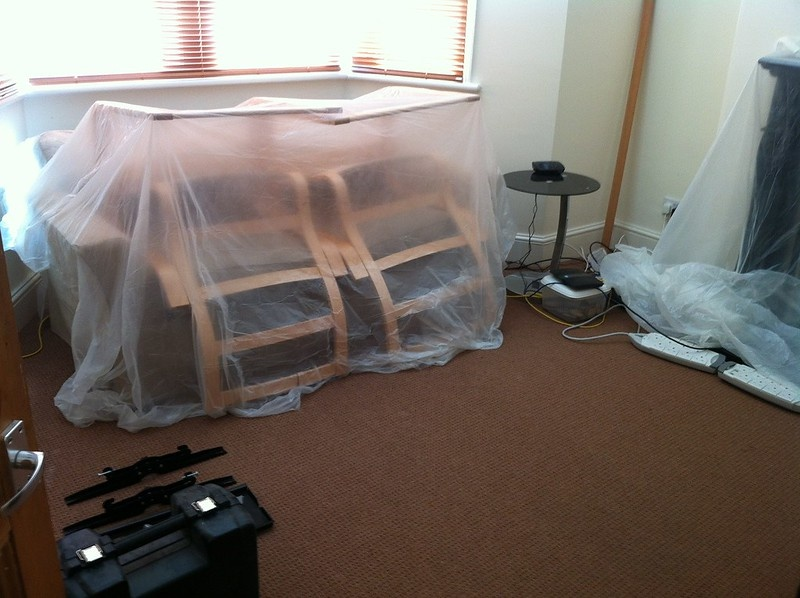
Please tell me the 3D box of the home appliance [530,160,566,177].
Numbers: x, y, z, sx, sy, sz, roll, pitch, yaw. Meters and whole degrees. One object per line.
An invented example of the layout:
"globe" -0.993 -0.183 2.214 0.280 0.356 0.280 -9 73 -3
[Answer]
"home appliance" 0.796 -0.693 3.069 0.155 0.071 0.090 -3 31 3

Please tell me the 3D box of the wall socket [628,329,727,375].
"wall socket" 1.287 0.242 2.649 0.298 0.039 0.161 17 28 18

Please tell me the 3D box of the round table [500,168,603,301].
"round table" 0.871 -0.397 3.129 0.491 0.628 0.458 -10 9 2
